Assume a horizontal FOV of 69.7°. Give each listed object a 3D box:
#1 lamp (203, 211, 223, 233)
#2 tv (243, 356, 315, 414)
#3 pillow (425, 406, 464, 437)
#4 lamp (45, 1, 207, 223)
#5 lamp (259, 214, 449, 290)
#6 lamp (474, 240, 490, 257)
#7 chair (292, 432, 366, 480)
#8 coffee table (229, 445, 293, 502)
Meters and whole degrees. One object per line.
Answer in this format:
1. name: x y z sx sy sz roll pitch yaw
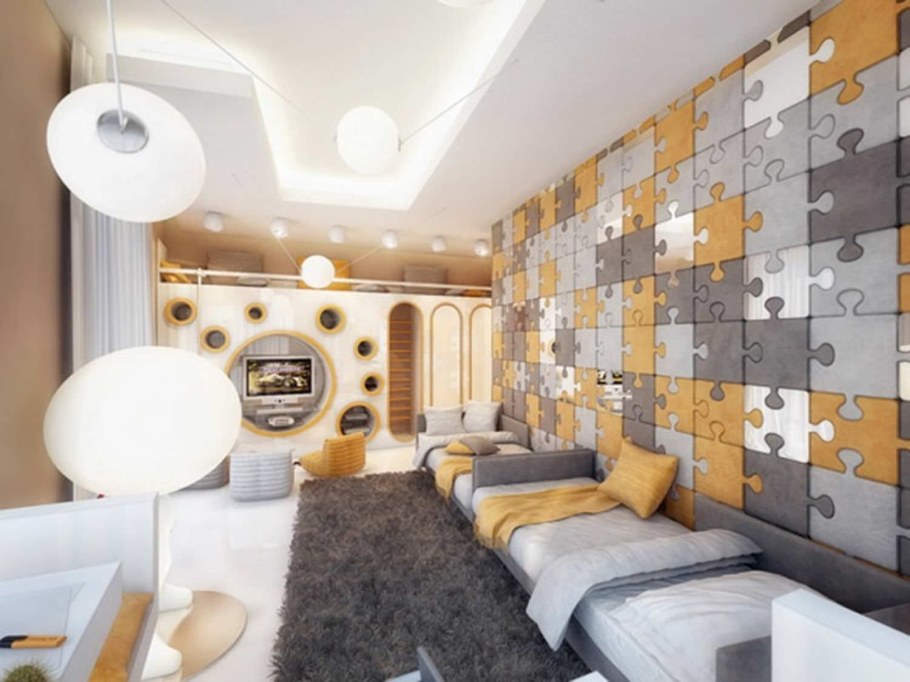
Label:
1. lamp: -2.424 -1.196 6.584 0.183 0.195 0.190 -20 -2 34
2. tv: -2.057 0.485 7.483 0.606 0.495 0.083 0 1 -27
3. pillow: -0.102 0.784 6.623 0.421 0.243 0.361 -4 18 -1
4. lamp: -1.464 -0.847 2.941 0.619 0.538 0.333 -1 0 -36
5. lamp: -1.069 -0.922 7.441 1.964 0.723 2.344 -1 0 -17
6. lamp: 0.345 -1.095 7.662 0.174 0.190 0.176 0 6 -16
7. chair: -1.223 1.106 6.511 0.659 0.435 0.707 3 2 3
8. coffee table: -1.725 1.145 5.819 0.611 0.511 0.389 0 -2 -18
